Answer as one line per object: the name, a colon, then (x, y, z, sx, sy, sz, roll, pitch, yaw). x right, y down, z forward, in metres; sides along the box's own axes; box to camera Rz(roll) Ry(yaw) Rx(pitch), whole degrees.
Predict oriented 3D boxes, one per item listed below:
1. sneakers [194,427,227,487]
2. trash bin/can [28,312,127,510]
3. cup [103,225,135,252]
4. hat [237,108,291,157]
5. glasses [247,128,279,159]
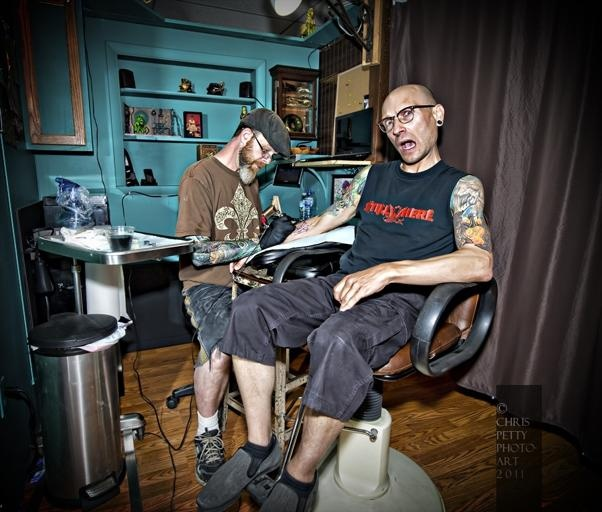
sneakers: (-0.394, 0.858, 1.932, 0.091, 0.107, 0.243, 7, 4, -13)
trash bin/can: (-0.908, 0.627, 1.885, 0.310, 0.714, 0.321, 0, 12, 14)
cup: (-0.756, -0.077, 1.887, 0.141, 0.111, 0.113, -4, 8, -27)
hat: (-0.155, -0.627, 2.360, 0.295, 0.161, 0.208, 32, 19, 12)
glasses: (-0.195, -0.574, 2.317, 0.041, 0.133, 0.131, -38, -35, 16)
